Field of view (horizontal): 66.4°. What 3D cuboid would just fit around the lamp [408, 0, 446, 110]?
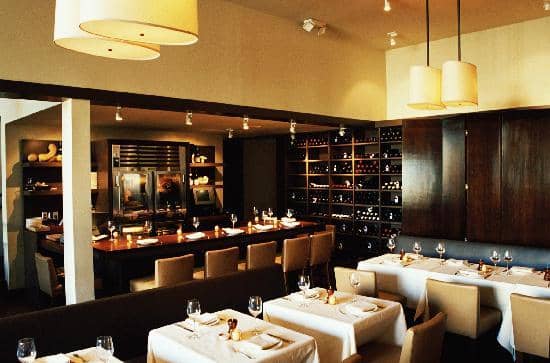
[{"bbox_3d":[2.272,-1.931,6.262,0.469,1.821,1.421,-1,0,22],"label":"lamp"}]

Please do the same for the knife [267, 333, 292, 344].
[{"bbox_3d":[0.043,1.576,4.211,0.038,0.029,0.267,4,-1,-43],"label":"knife"}]

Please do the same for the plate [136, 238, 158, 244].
[{"bbox_3d":[-1.992,0.926,6.521,0.323,0.082,0.382,-1,-1,-17],"label":"plate"}]

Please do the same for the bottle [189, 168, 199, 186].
[{"bbox_3d":[-2.012,-0.109,10.422,0.187,0.362,0.562,-1,0,-9],"label":"bottle"}]

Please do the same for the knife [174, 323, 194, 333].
[{"bbox_3d":[-0.954,1.534,4.387,0.238,0.032,0.033,15,20,36],"label":"knife"}]

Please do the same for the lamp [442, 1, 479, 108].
[{"bbox_3d":[2.741,-1.935,6.255,0.438,1.827,1.797,-1,0,24],"label":"lamp"}]

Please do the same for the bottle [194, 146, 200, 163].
[{"bbox_3d":[-1.956,-0.671,10.418,0.084,0.365,0.483,-1,0,-9],"label":"bottle"}]

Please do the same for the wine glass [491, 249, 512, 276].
[{"bbox_3d":[3.225,1.158,5.975,0.349,0.412,0.141,-2,-4,20],"label":"wine glass"}]
